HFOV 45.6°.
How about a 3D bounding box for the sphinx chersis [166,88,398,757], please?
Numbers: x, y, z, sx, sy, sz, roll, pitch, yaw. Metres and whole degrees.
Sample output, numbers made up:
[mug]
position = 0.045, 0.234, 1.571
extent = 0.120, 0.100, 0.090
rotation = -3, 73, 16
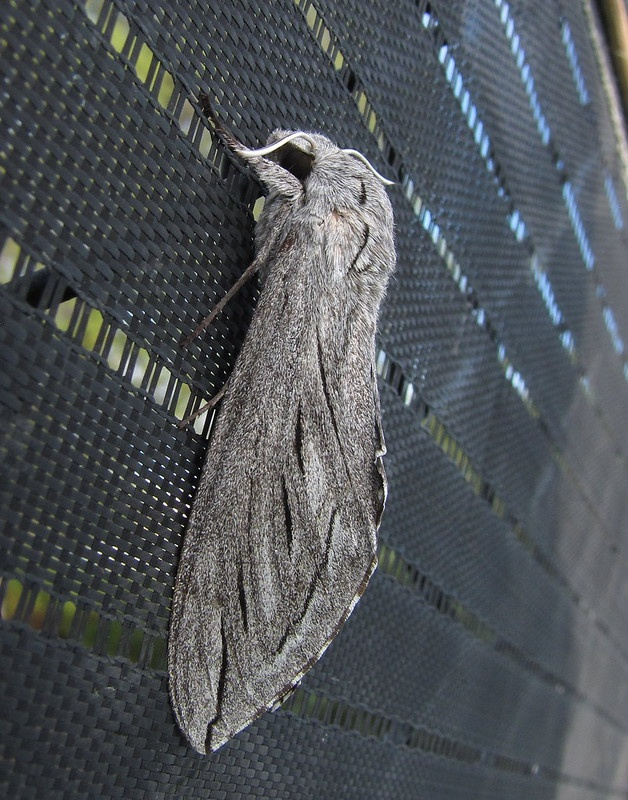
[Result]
[sphinx chersis]
position = -0.066, 0.035, 0.769
extent = 0.198, 0.635, 0.166
rotation = 4, 2, -42
